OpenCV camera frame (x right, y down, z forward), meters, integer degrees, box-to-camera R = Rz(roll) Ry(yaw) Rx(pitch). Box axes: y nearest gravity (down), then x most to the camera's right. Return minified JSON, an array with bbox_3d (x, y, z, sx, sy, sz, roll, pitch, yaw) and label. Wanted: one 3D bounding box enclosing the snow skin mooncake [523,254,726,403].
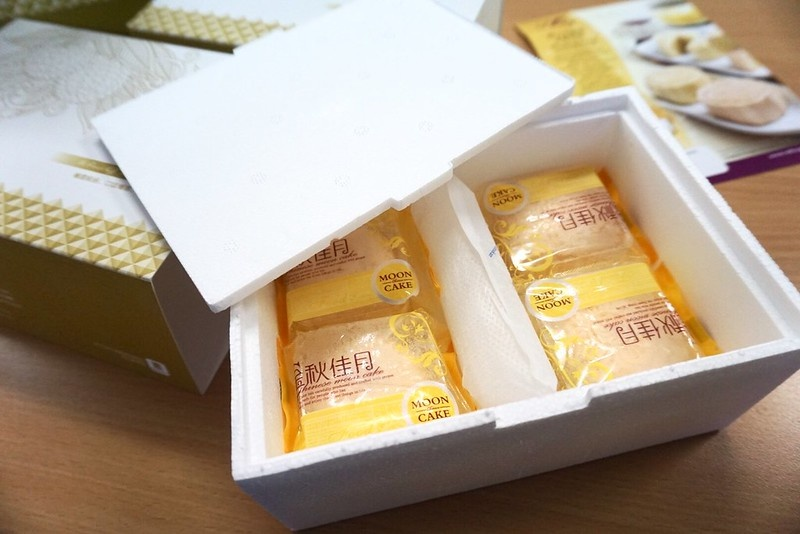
[{"bbox_3d":[0.331,0.063,0.939,0.195,0.053,0.217,-19,66,-7],"label":"snow skin mooncake"}]
